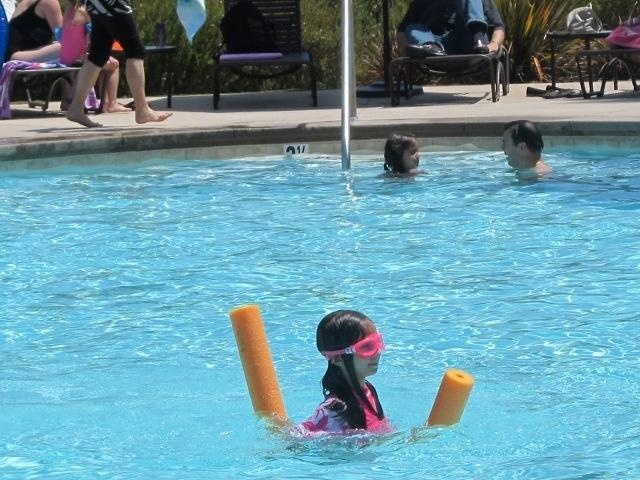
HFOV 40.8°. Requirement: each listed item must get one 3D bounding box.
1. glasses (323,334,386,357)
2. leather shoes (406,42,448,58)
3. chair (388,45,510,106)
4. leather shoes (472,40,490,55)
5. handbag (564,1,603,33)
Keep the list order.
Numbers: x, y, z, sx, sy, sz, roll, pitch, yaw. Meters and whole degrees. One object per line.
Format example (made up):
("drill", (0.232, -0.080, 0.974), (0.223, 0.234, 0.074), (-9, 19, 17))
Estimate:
("glasses", (0.146, 0.450, 3.590), (0.175, 0.043, 0.135), (-14, -3, 16))
("leather shoes", (1.392, -2.418, 10.792), (0.581, 0.152, 0.223), (4, 19, 9))
("chair", (1.806, -2.277, 11.241), (1.965, 0.587, 1.260), (5, 22, 19))
("leather shoes", (1.995, -2.435, 10.693), (0.193, 0.214, 0.479), (-4, 8, 11))
("handbag", (3.469, -2.995, 11.509), (0.615, 0.374, 0.328), (-5, 21, -7))
